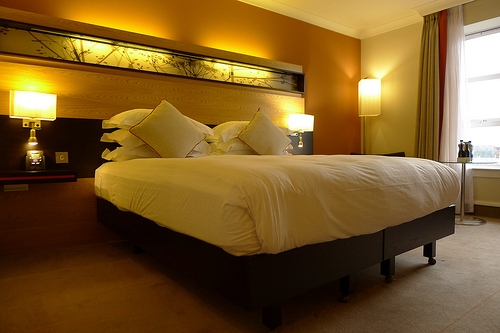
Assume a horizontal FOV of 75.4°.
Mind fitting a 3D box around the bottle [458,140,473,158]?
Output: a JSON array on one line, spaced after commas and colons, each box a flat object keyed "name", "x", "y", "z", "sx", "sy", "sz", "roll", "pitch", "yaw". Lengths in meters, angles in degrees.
[{"name": "bottle", "x": 3.141, "y": -0.239, "z": 4.704, "sx": 0.173, "sy": 0.252, "sz": 0.343, "roll": 8, "pitch": 14, "yaw": 33}]

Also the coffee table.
[{"name": "coffee table", "x": 3.069, "y": 0.342, "z": 4.750, "sx": 0.879, "sy": 1.042, "sz": 0.906, "roll": 0, "pitch": -2, "yaw": 40}]

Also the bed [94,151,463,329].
[{"name": "bed", "x": 0.381, "y": 0.342, "z": 2.708, "sx": 2.940, "sy": 0.878, "sz": 1.291, "roll": -3, "pitch": 12, "yaw": -13}]

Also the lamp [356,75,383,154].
[{"name": "lamp", "x": 2.198, "y": -0.911, "z": 6.003, "sx": 0.418, "sy": 1.411, "sz": 0.443, "roll": 4, "pitch": 13, "yaw": 20}]
